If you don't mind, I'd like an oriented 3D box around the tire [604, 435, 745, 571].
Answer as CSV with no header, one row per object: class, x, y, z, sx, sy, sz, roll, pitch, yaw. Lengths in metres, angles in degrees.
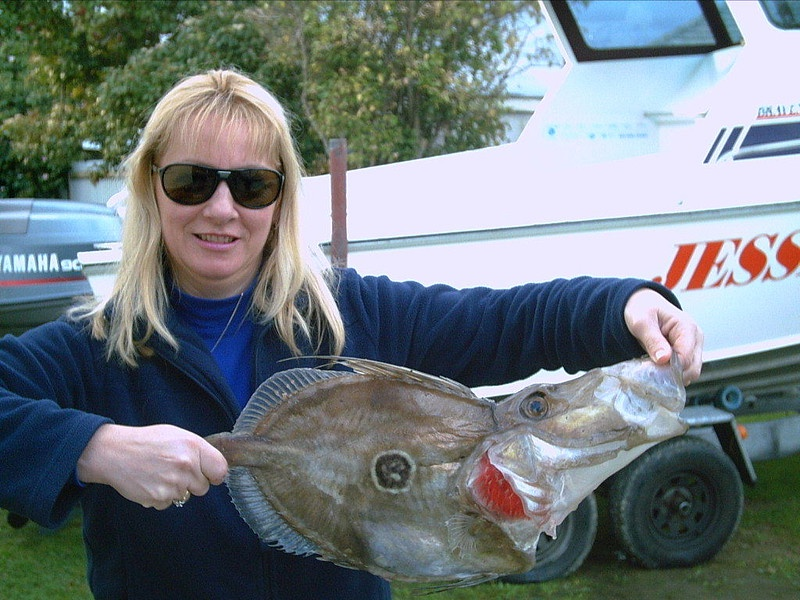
tire,1.747,1.288,5.579,0.818,1.017,0.314,-12,6,-17
